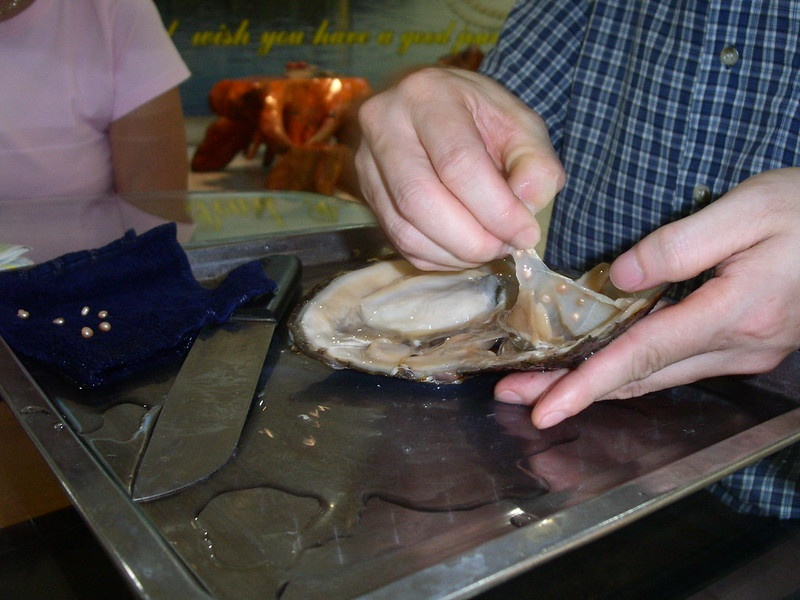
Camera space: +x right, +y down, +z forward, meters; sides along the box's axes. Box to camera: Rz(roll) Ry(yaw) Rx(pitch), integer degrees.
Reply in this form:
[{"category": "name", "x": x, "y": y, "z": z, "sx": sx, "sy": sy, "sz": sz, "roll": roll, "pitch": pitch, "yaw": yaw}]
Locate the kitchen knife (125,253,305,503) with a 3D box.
[{"category": "kitchen knife", "x": -0.248, "y": 0.110, "z": 0.875, "sx": 0.124, "sy": 0.037, "sz": 0.511, "roll": -1, "pitch": 23, "yaw": 4}]
